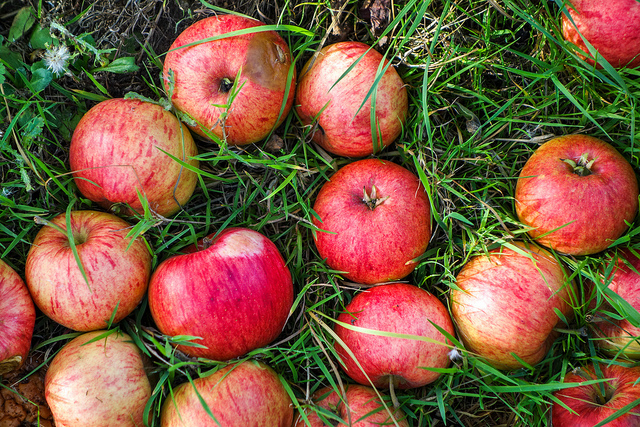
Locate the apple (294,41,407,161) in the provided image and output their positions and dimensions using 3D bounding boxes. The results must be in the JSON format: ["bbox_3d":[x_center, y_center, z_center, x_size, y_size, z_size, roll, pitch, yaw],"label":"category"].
[{"bbox_3d":[0.131,-0.477,2.423,0.441,0.500,0.475,9,32,39],"label":"apple"}]
